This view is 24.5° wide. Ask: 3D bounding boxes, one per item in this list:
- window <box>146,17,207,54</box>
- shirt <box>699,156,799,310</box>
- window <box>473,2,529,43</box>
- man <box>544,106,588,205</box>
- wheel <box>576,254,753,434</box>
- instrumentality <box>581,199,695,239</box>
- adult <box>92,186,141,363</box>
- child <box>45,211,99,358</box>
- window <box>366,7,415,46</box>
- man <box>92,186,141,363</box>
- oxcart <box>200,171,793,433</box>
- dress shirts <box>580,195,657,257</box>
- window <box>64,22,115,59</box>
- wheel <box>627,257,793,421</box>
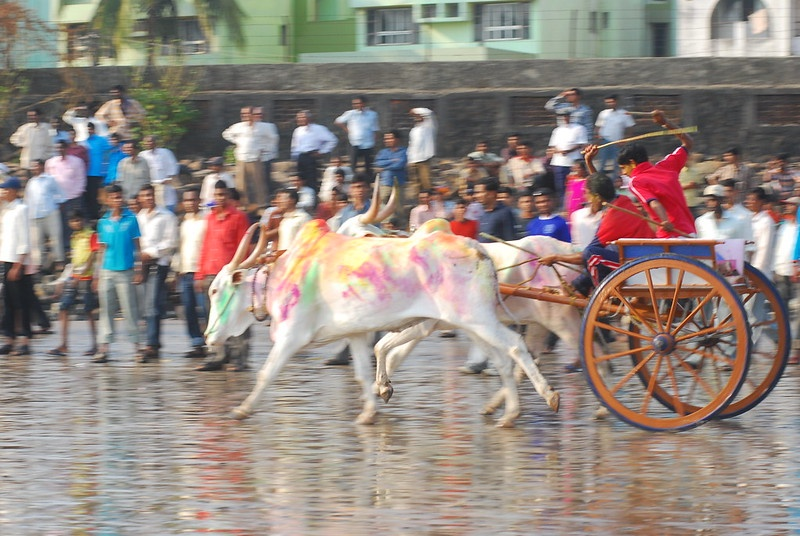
[{"bbox_3d":[-4.232,-4.568,36.260,1.466,0.852,0.271,2,-11,2],"label":"window"},{"bbox_3d":[4.784,-0.489,24.345,0.729,1.063,2.366,-8,11,-12],"label":"shirt"},{"bbox_3d":[2.276,-5.452,40.851,1.850,0.830,0.165,0,-7,39],"label":"window"},{"bbox_3d":[2.486,-1.647,27.771,0.561,1.370,0.802,-1,0,-45],"label":"man"},{"bbox_3d":[3.093,0.753,21.744,1.921,2.012,2.464,-1,6,5],"label":"wheel"},{"bbox_3d":[2.798,-0.581,21.502,1.900,0.175,0.084,14,-7,2],"label":"instrumentality"},{"bbox_3d":[-3.800,0.067,24.451,0.707,2.310,0.519,-2,7,-5],"label":"adult"},{"bbox_3d":[-4.596,0.143,25.745,0.699,1.878,2.338,-3,6,-10],"label":"child"},{"bbox_3d":[-0.258,-5.567,42.207,1.430,0.859,0.294,-5,-13,10],"label":"window"},{"bbox_3d":[-3.798,0.066,24.453,0.715,2.310,0.539,-2,7,-7],"label":"man"},{"bbox_3d":[0.850,0.603,21.365,6.869,1.567,1.714,1,-4,14],"label":"oxcart"},{"bbox_3d":[2.547,-0.496,21.370,1.065,0.564,0.736,0,8,23],"label":"dress shirts"},{"bbox_3d":[-6.033,-4.331,34.961,0.861,0.712,1.691,0,5,7],"label":"window"},{"bbox_3d":[3.537,0.845,21.360,0.304,1.778,2.477,5,-7,-44],"label":"wheel"}]
